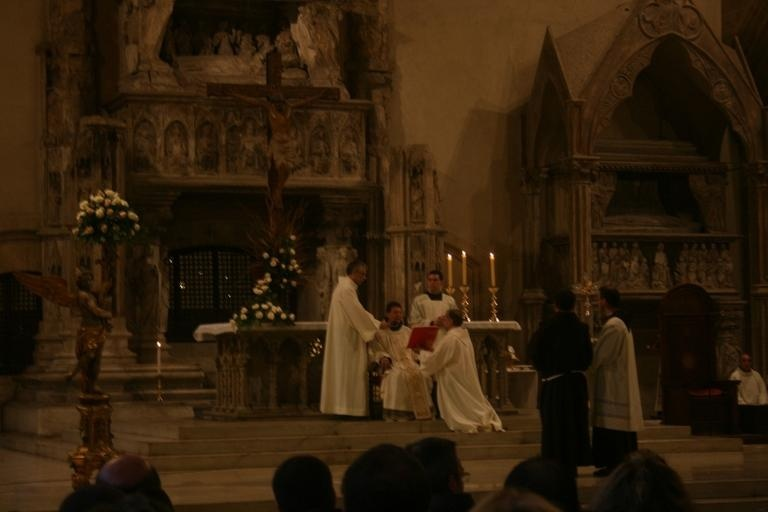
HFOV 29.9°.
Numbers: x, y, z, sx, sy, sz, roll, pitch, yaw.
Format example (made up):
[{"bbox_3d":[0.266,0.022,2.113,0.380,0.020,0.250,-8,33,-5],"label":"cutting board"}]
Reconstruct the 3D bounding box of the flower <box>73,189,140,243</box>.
[{"bbox_3d":[-4.059,-0.492,20.925,0.849,0.782,0.934,-6,3,-21],"label":"flower"}]

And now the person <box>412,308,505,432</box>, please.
[{"bbox_3d":[1.138,1.821,21.937,1.180,1.928,0.563,-2,-11,3],"label":"person"}]

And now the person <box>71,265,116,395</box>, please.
[{"bbox_3d":[-4.146,1.138,20.295,0.510,1.705,0.524,1,-11,-11],"label":"person"}]

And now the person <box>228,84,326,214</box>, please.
[{"bbox_3d":[-1.684,-1.604,22.566,1.186,2.046,0.391,0,-11,-7],"label":"person"}]

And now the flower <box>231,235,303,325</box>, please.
[{"bbox_3d":[-1.806,0.454,22.222,0.565,1.396,1.080,-8,-12,36],"label":"flower"}]
